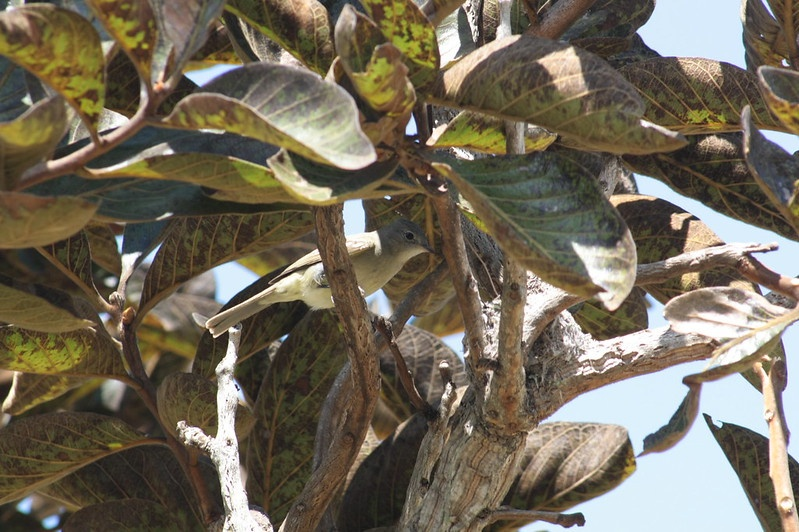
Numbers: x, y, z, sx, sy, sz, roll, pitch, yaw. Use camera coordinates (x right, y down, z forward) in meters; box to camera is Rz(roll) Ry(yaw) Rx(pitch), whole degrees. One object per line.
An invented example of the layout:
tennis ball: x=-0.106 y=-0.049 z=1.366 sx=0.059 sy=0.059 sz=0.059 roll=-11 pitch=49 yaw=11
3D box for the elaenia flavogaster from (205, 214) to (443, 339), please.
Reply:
elaenia flavogaster: x=-0.419 y=0.089 z=7.095 sx=1.196 sy=0.498 sz=0.407 roll=-8 pitch=-37 yaw=1
